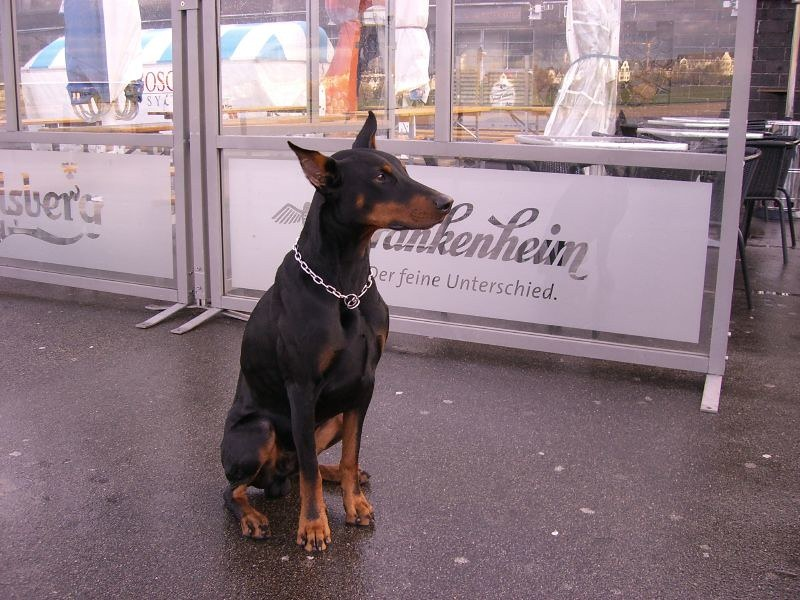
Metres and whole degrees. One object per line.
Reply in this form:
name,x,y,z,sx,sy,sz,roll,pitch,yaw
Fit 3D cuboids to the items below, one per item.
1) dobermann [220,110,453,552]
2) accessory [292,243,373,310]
dobermann,-0.339,0.155,3.000,1.105,1.891,0.773,5,9,29
accessory,-0.337,-0.112,2.810,0.269,0.060,0.344,-25,77,-46
